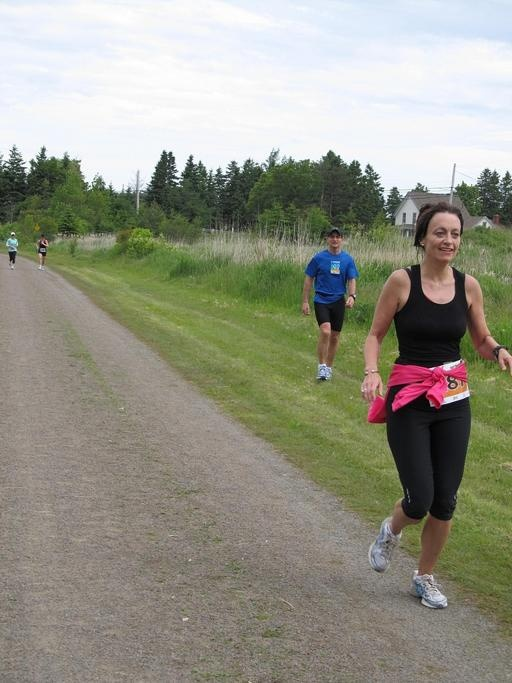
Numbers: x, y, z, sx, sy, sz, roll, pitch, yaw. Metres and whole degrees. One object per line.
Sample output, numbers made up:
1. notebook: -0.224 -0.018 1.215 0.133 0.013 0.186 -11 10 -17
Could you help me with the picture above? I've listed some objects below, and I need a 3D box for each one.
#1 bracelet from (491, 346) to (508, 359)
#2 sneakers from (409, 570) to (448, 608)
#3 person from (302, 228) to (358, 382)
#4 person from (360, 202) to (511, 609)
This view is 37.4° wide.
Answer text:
1. bracelet: 1.323 0.048 4.123 0.079 0.072 0.059 -25 -9 37
2. sneakers: 0.892 1.303 3.992 0.098 0.102 0.253 0 6 -21
3. person: 0.949 -0.513 10.188 0.700 2.049 0.690 9 8 6
4. person: 0.892 0.314 3.968 0.723 2.075 0.549 11 9 21
